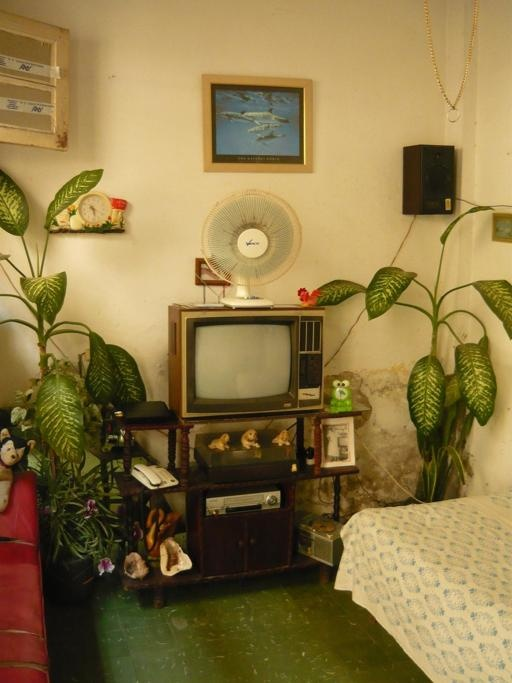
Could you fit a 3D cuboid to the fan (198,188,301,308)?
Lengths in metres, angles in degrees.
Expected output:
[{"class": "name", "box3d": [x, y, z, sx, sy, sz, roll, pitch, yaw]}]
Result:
[{"class": "fan", "box3d": [-0.027, -0.401, 2.382, 0.392, 0.474, 0.272, 3, 20, -6]}]

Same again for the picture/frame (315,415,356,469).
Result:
[{"class": "picture/frame", "box3d": [0.370, 0.473, 2.541, 0.193, 0.235, 0.012, 3, -7, -21]}]

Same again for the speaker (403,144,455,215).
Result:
[{"class": "speaker", "box3d": [0.889, -0.827, 2.851, 0.240, 0.324, 0.187, -2, 11, -8]}]

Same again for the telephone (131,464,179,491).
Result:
[{"class": "telephone", "box3d": [-0.414, 0.530, 2.211, 0.094, 0.041, 0.127, 3, 13, -41]}]

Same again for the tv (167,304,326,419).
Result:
[{"class": "tv", "box3d": [-0.037, 0.066, 2.414, 0.597, 0.428, 0.361, -1, 8, -14]}]
